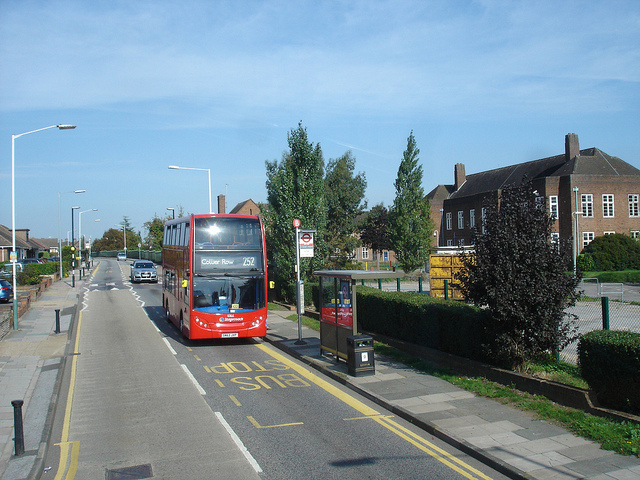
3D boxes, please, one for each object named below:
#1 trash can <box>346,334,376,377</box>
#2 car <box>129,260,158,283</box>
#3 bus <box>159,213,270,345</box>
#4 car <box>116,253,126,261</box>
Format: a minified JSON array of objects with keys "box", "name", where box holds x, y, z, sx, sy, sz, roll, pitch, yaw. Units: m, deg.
[{"box":[1.441,3.460,17.698,0.834,1.041,0.864,-5,-14,12],"name":"trash can"},{"box":[-15.300,2.797,52.108,2.124,1.714,2.148,-3,5,-20],"name":"car"},{"box":[-4.399,1.466,23.842,2.707,5.023,5.723,-4,5,-28],"name":"bus"},{"box":[-32.672,2.873,99.028,1.413,1.390,2.471,1,4,-21],"name":"car"}]
